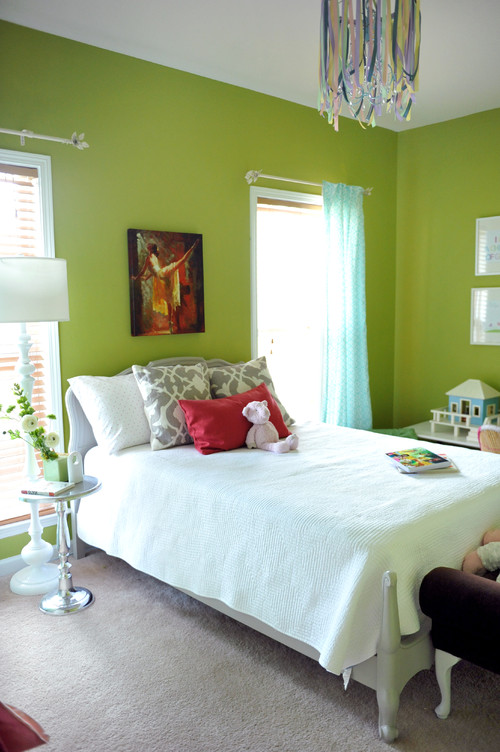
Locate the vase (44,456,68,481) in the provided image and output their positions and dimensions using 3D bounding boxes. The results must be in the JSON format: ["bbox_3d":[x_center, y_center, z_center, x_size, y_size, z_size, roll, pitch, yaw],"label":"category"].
[{"bbox_3d":[-0.836,0.407,2.478,0.095,0.099,0.098,5,12,24],"label":"vase"}]

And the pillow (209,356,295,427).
[{"bbox_3d":[-0.015,0.027,3.163,0.127,0.422,0.430,-24,-11,29],"label":"pillow"}]

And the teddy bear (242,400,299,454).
[{"bbox_3d":[0.087,0.256,2.798,0.251,0.261,0.177,3,15,39],"label":"teddy bear"}]

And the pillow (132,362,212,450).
[{"bbox_3d":[-0.424,0.151,2.869,0.123,0.407,0.420,-19,-10,35],"label":"pillow"}]

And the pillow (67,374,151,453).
[{"bbox_3d":[-0.730,0.192,2.838,0.112,0.379,0.382,-26,-4,28],"label":"pillow"}]
